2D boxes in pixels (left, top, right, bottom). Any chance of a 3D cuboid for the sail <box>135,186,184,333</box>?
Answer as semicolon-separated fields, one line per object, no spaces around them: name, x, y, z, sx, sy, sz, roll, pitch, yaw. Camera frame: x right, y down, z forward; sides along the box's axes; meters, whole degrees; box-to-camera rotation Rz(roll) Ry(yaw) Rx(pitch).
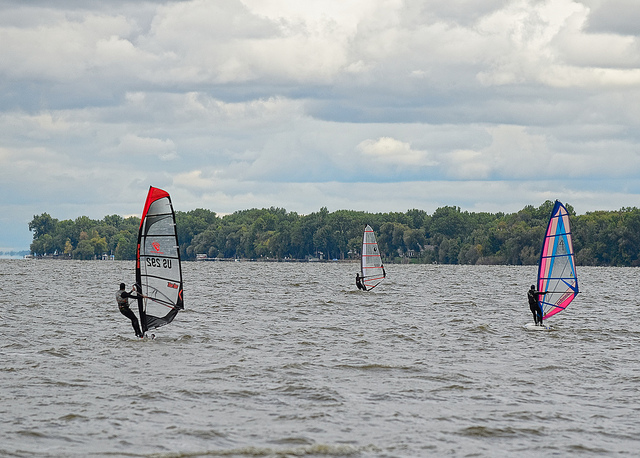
sail;-6.391;1.194;40.552;1.769;5.473;1.927;2;-3;-9

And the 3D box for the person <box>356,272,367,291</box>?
person;2.792;3.763;69.546;0.346;1.794;0.385;-11;5;-37

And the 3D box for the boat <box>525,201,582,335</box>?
boat;10.694;1.903;46.534;1.959;5.643;6.363;1;-3;11

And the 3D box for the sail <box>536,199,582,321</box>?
sail;10.416;1.509;44.562;1.644;5.218;2.552;1;-3;12
